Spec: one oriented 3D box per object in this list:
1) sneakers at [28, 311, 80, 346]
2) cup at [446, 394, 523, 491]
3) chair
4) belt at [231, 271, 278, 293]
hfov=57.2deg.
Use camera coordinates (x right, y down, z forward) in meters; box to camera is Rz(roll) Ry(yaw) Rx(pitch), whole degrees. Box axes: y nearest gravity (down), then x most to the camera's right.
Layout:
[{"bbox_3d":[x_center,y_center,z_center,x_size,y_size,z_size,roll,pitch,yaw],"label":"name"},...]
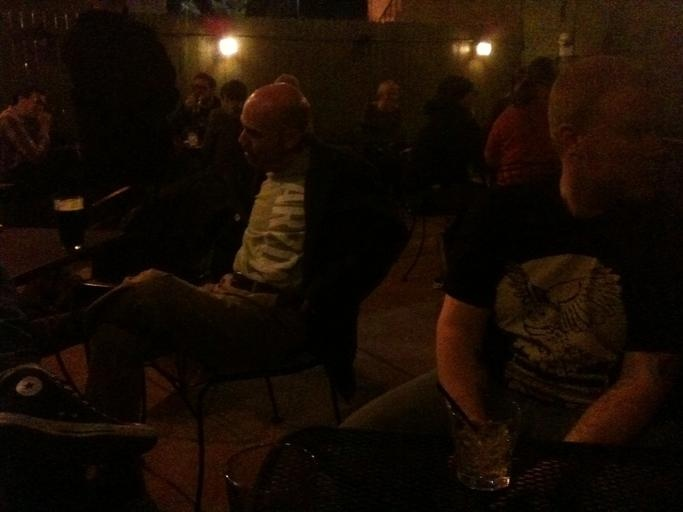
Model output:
[{"bbox_3d":[-0.950,0.245,2.133,0.155,0.097,0.113,-10,12,-8],"label":"sneakers"},{"bbox_3d":[0.264,0.351,1.160,0.129,0.128,0.136,-3,1,0],"label":"cup"},{"bbox_3d":[-0.206,0.427,2.991,1.348,1.806,1.065,2,11,-23],"label":"chair"},{"bbox_3d":[-0.315,0.100,2.220,0.089,0.043,0.107,20,6,-19],"label":"belt"}]
